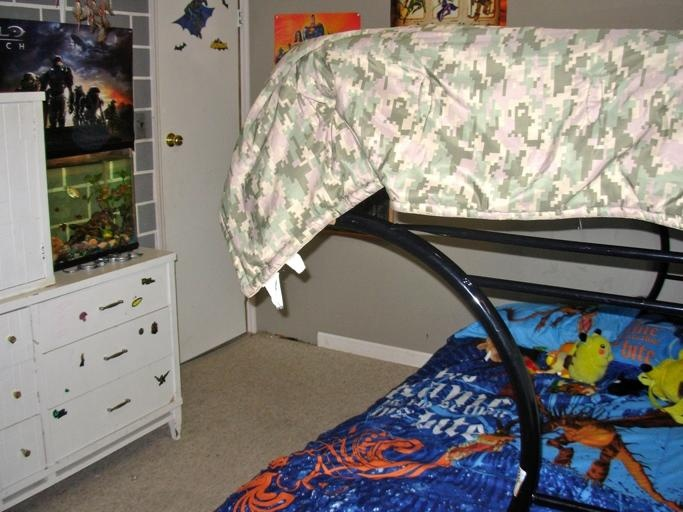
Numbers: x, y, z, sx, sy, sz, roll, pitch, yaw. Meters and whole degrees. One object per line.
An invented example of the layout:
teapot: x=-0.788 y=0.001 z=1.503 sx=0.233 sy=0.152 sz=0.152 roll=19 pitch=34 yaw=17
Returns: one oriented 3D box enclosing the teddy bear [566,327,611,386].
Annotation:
teddy bear: x=1.172 y=0.479 z=2.528 sx=0.171 sy=0.275 sz=0.184 roll=-7 pitch=13 yaw=-16
